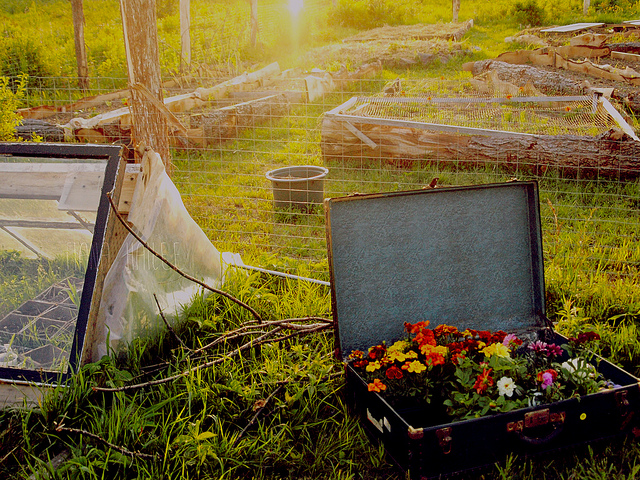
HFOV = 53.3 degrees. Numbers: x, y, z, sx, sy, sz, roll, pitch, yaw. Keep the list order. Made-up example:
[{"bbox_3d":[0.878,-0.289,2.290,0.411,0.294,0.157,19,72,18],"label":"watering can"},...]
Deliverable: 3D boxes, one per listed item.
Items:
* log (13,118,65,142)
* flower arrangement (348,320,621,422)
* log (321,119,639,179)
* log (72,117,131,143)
[{"bbox_3d":[-3.325,-1.301,7.547,0.511,0.296,0.876,-8,10,-24],"label":"log"},{"bbox_3d":[0.943,0.771,3.828,1.530,0.516,0.567,-3,9,-1],"label":"flower arrangement"},{"bbox_3d":[1.622,-1.002,6.829,3.226,0.779,0.515,1,10,23],"label":"log"},{"bbox_3d":[-2.534,-1.250,7.358,0.617,0.256,0.449,-9,18,-19],"label":"log"}]
